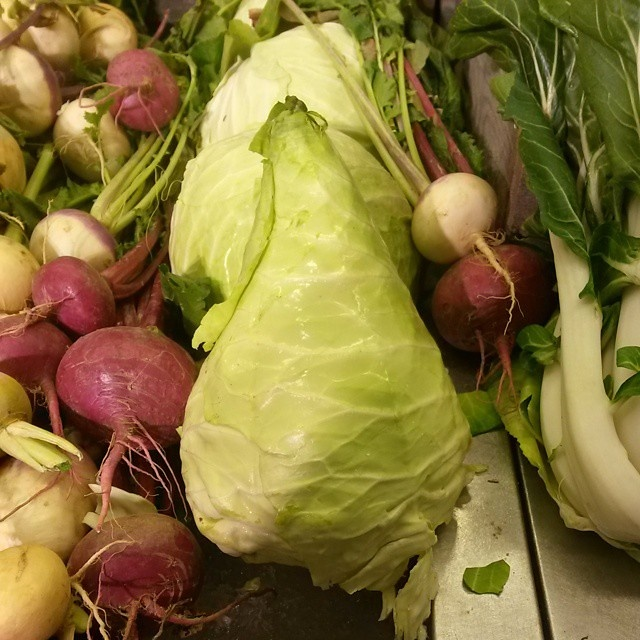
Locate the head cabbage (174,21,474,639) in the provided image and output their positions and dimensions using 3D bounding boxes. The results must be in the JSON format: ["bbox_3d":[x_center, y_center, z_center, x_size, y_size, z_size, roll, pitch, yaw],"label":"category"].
[{"bbox_3d":[-0.026,-0.065,1.077,0.347,0.456,0.929,-17,80,22],"label":"head cabbage"}]

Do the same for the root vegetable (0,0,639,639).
[{"bbox_3d":[0.006,0.016,1.077,0.830,0.242,0.916,0,71,6],"label":"root vegetable"}]
